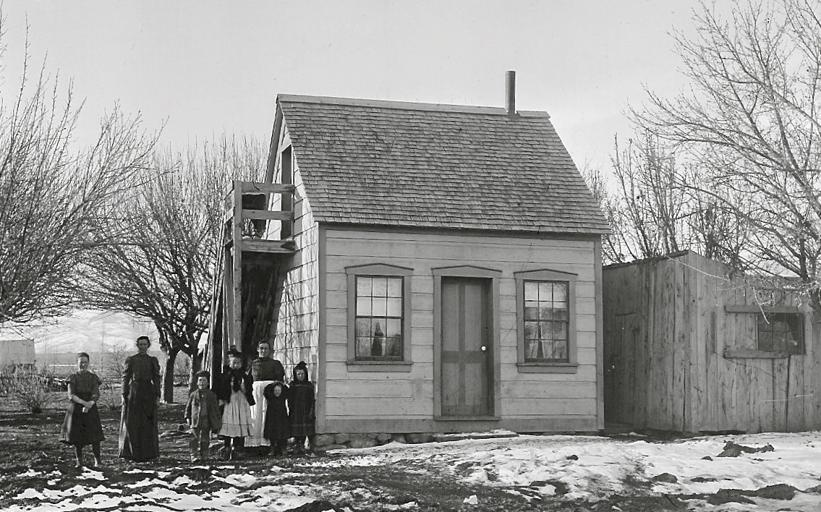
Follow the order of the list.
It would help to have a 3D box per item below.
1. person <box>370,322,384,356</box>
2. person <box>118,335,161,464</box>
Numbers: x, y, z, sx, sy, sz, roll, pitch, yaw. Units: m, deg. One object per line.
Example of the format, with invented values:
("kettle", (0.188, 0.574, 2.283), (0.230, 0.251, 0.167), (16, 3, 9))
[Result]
("person", (-0.811, 1.983, 23.526), (0.293, 0.777, 0.088), (-1, 3, -3))
("person", (-5.884, 3.231, 21.398), (0.868, 2.358, 0.359), (-2, 3, -20))
